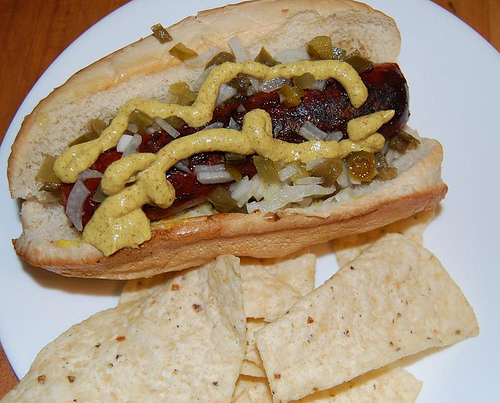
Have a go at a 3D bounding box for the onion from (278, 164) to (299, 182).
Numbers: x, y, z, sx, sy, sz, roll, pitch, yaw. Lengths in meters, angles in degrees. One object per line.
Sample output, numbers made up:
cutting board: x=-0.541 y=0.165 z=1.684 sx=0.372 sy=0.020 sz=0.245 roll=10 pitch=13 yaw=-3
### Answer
onion: x=0.200 y=-0.151 z=2.859 sx=0.106 sy=0.029 sz=0.065 roll=-40 pitch=95 yaw=5

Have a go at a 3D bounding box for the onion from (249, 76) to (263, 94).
onion: x=0.033 y=-0.630 z=2.913 sx=0.100 sy=0.017 sz=0.027 roll=54 pitch=46 yaw=-22

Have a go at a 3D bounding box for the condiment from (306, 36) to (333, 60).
condiment: x=0.390 y=-0.844 z=3.015 sx=0.127 sy=0.080 sz=0.146 roll=-8 pitch=56 yaw=-4

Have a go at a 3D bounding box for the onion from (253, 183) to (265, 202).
onion: x=0.052 y=-0.046 z=2.937 sx=0.061 sy=0.088 sz=0.026 roll=31 pitch=42 yaw=10

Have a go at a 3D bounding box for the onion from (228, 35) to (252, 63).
onion: x=-0.065 y=-0.831 z=3.038 sx=0.087 sy=0.047 sz=0.172 roll=-32 pitch=100 yaw=-28

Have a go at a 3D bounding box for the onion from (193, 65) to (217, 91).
onion: x=-0.259 y=-0.668 z=2.960 sx=0.036 sy=0.096 sz=0.157 roll=35 pitch=88 yaw=0

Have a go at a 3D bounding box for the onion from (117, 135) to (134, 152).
onion: x=-0.642 y=-0.301 z=2.780 sx=0.075 sy=0.022 sz=0.079 roll=4 pitch=79 yaw=6

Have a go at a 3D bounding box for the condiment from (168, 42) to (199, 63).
condiment: x=-0.363 y=-0.812 z=2.966 sx=0.133 sy=0.031 sz=0.074 roll=34 pitch=82 yaw=-1

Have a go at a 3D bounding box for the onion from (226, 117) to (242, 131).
onion: x=-0.082 y=-0.402 z=2.828 sx=0.077 sy=0.021 sz=0.081 roll=2 pitch=90 yaw=-12

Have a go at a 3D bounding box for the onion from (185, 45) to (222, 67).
onion: x=-0.264 y=-0.794 z=2.977 sx=0.184 sy=0.055 sz=0.095 roll=-33 pitch=55 yaw=-30

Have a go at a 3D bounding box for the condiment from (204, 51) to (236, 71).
condiment: x=-0.144 y=-0.752 z=2.985 sx=0.097 sy=0.098 sz=0.037 roll=-40 pitch=103 yaw=-50

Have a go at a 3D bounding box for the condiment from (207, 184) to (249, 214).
condiment: x=-0.121 y=0.014 z=2.932 sx=0.204 sy=0.062 sz=0.136 roll=34 pitch=111 yaw=-26

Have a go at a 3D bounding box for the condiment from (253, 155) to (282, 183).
condiment: x=0.089 y=-0.163 z=2.838 sx=0.088 sy=0.158 sz=0.032 roll=-23 pitch=29 yaw=15

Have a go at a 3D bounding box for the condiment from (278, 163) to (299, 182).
condiment: x=0.201 y=-0.154 z=2.859 sx=0.112 sy=0.030 sz=0.061 roll=-28 pitch=93 yaw=2

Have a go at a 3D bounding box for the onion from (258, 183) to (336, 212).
onion: x=0.238 y=-0.020 z=2.954 sx=0.265 sy=0.071 sz=0.061 roll=-18 pitch=97 yaw=11

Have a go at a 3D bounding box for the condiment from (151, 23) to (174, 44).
condiment: x=-0.481 y=-0.912 z=2.963 sx=0.074 sy=0.027 sz=0.118 roll=-29 pitch=90 yaw=-10

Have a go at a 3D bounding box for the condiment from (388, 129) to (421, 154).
condiment: x=0.883 y=-0.342 z=3.139 sx=0.143 sy=0.061 sz=0.166 roll=38 pitch=89 yaw=-17
